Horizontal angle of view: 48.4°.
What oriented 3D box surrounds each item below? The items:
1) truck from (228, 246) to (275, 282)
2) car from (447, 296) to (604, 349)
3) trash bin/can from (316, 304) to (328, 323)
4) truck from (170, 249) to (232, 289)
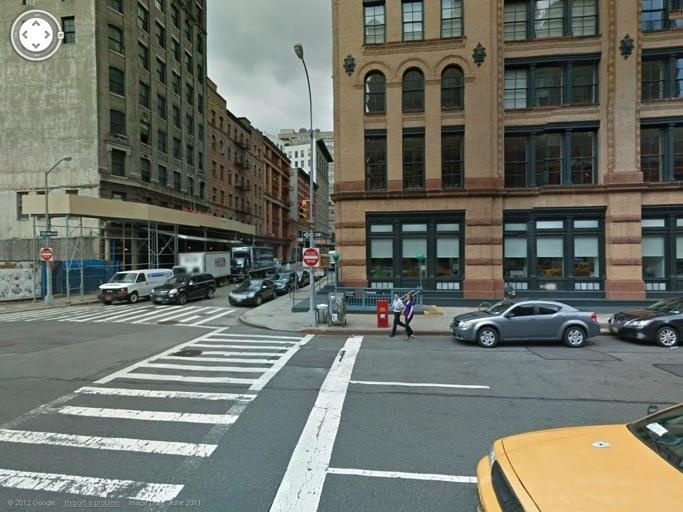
[{"bbox_3d":[-7.822,0.482,64.666,1.685,1.878,4.113,0,4,21],"label":"truck"},{"bbox_3d":[9.529,3.395,39.549,7.444,2.432,3.029,0,3,0],"label":"car"},{"bbox_3d":[-1.133,3.167,41.413,0.846,1.144,0.847,0,0,-1],"label":"trash bin/can"},{"bbox_3d":[-10.295,1.049,57.627,1.857,2.639,5.878,-6,0,16],"label":"truck"}]
